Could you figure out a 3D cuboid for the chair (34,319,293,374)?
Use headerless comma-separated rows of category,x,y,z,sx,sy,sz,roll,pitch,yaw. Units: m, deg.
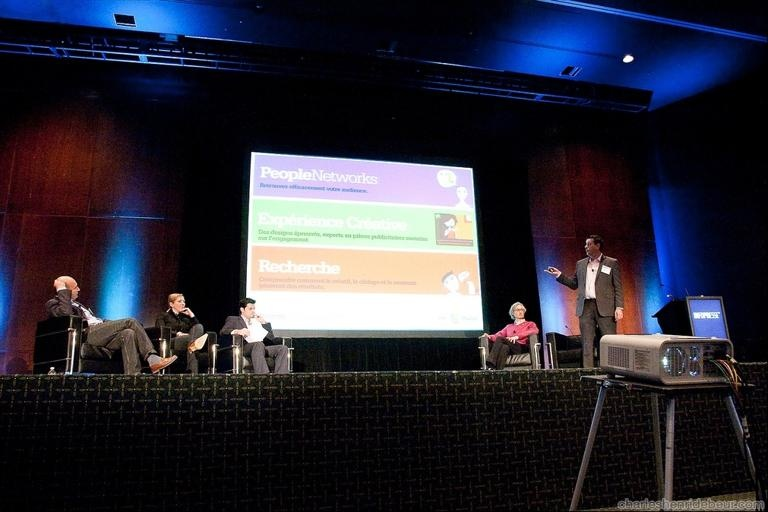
chair,-2.193,0.828,5.224,1.756,0.520,0.721,6,-9,-41

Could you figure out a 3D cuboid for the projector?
projector,1.579,0.546,3.284,0.335,0.215,0.456,2,-4,-13

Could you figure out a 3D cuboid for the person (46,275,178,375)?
person,-2.652,0.671,5.466,1.148,1.169,0.603,-11,-10,-11

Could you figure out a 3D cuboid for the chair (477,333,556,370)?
chair,1.407,1.104,6.197,0.614,0.449,0.602,-4,-19,14
